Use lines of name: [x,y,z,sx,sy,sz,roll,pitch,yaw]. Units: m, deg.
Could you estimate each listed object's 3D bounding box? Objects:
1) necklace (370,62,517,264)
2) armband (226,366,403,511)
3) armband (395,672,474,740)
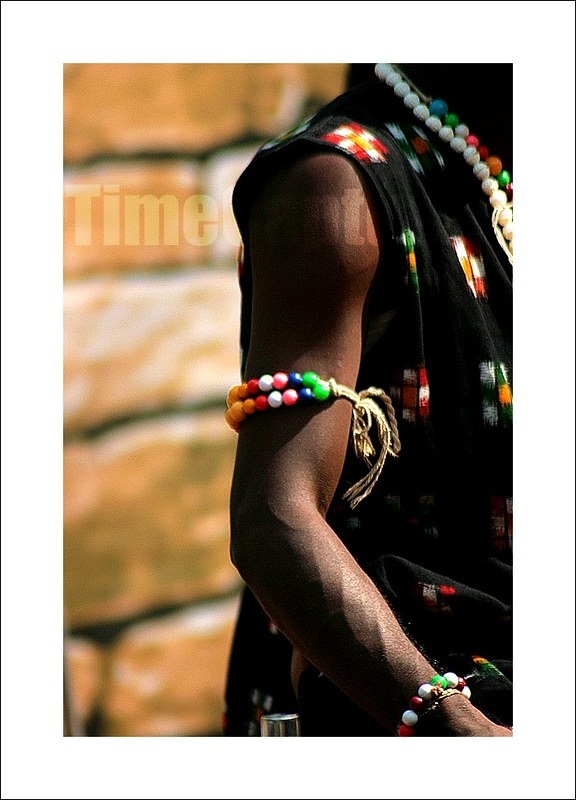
necklace: [0.300,-0.449,1.639,0.066,0.430,0.331,-35,-7,1]
armband: [0.061,0.077,1.386,0.241,0.070,0.241,-9,-30,41]
armband: [0.200,0.420,1.309,0.096,0.026,0.075,-39,-27,-4]
